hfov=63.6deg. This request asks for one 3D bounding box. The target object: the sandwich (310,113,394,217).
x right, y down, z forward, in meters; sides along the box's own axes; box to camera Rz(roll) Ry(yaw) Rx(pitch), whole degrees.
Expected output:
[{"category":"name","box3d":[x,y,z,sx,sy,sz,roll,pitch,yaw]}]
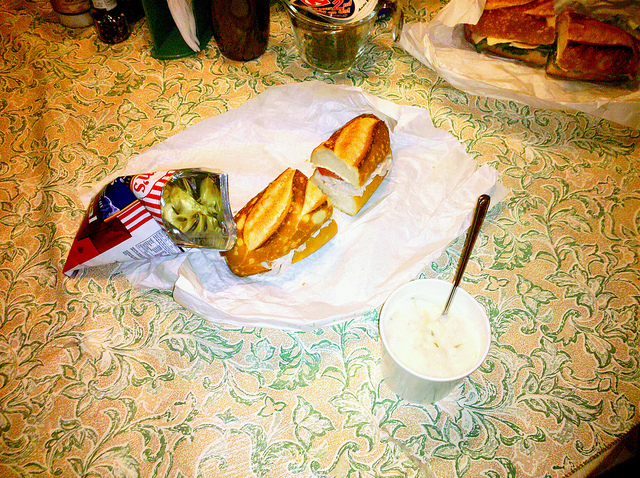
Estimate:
[{"category":"sandwich","box3d":[0.092,-0.215,1.514,0.259,0.263,0.231,36,51,28]}]

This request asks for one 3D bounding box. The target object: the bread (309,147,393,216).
[{"category":"bread","box3d":[0.087,-0.242,1.464,0.218,0.067,0.182,6,45,23]}]

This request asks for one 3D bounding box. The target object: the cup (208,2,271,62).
[{"category":"cup","box3d":[-0.239,-0.623,1.546,0.134,0.215,0.136,0,83,-4]}]

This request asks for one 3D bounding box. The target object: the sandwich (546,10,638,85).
[{"category":"sandwich","box3d":[0.794,-0.566,1.559,0.257,0.092,0.183,15,84,0]}]

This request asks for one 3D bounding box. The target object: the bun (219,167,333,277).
[{"category":"bun","box3d":[-0.113,-0.035,1.364,0.306,0.101,0.188,-42,80,-14]}]

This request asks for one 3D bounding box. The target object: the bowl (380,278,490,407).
[{"category":"bowl","box3d":[0.227,0.218,1.108,0.218,0.192,0.219,0,60,-1]}]

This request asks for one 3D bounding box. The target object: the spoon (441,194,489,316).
[{"category":"spoon","box3d":[0.338,0.044,1.206,0.027,0.016,0.316,24,107,19]}]

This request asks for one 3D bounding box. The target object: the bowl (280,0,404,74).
[{"category":"bowl","box3d":[0.069,-0.596,1.539,0.294,0.151,0.239,3,63,-1]}]

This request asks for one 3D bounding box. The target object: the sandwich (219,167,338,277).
[{"category":"sandwich","box3d":[-0.110,-0.029,1.340,0.229,0.108,0.313,25,62,33]}]

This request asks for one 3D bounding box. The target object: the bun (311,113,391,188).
[{"category":"bun","box3d":[0.105,-0.276,1.447,0.171,0.082,0.253,23,53,21]}]

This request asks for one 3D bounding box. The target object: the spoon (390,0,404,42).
[{"category":"spoon","box3d":[0.237,-0.672,1.598,0.049,0.159,0.040,14,80,6]}]

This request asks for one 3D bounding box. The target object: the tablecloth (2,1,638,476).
[{"category":"tablecloth","box3d":[0.003,0.079,1.375,1.432,0.008,1.341,-1,57,-2]}]

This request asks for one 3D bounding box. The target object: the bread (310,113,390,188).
[{"category":"bread","box3d":[0.084,-0.236,1.383,0.160,0.074,0.224,31,74,25]}]
